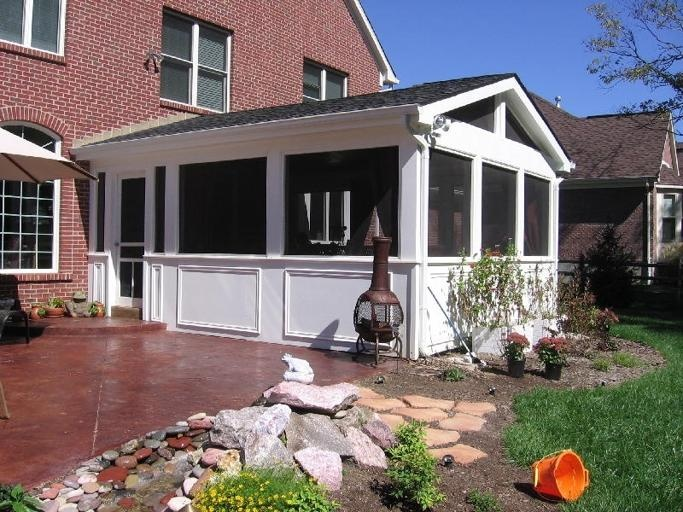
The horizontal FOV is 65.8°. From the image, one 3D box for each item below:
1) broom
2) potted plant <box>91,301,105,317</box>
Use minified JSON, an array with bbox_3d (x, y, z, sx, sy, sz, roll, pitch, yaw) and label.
[{"bbox_3d":[1.789,1.086,8.587,0.151,1.538,0.273,-34,-1,8],"label":"broom"},{"bbox_3d":[-5.223,1.163,11.471,0.153,0.287,0.231,-25,-11,26],"label":"potted plant"}]
